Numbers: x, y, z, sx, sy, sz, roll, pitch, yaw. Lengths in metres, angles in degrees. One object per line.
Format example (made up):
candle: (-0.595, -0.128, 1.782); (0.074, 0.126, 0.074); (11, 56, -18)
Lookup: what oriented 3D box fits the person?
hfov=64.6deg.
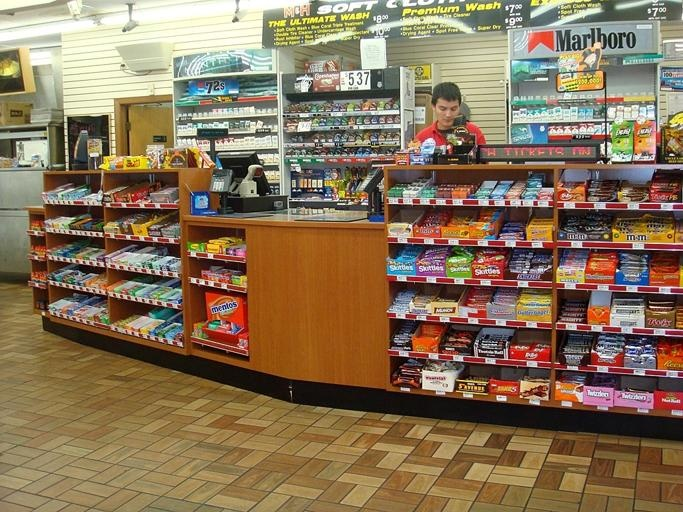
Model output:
person: (0.855, -1.350, 5.149); (0.409, 0.581, 0.593); (-2, 13, 8)

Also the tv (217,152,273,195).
tv: (-0.993, -0.823, 5.424); (0.443, 0.424, 0.513); (-6, 13, -10)

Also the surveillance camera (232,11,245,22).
surveillance camera: (-1.569, -3.549, 8.029); (0.255, 0.122, 0.094); (-2, 35, 41)

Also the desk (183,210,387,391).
desk: (-0.448, 0.384, 4.463); (2.303, 0.999, 0.745); (3, 7, 31)
